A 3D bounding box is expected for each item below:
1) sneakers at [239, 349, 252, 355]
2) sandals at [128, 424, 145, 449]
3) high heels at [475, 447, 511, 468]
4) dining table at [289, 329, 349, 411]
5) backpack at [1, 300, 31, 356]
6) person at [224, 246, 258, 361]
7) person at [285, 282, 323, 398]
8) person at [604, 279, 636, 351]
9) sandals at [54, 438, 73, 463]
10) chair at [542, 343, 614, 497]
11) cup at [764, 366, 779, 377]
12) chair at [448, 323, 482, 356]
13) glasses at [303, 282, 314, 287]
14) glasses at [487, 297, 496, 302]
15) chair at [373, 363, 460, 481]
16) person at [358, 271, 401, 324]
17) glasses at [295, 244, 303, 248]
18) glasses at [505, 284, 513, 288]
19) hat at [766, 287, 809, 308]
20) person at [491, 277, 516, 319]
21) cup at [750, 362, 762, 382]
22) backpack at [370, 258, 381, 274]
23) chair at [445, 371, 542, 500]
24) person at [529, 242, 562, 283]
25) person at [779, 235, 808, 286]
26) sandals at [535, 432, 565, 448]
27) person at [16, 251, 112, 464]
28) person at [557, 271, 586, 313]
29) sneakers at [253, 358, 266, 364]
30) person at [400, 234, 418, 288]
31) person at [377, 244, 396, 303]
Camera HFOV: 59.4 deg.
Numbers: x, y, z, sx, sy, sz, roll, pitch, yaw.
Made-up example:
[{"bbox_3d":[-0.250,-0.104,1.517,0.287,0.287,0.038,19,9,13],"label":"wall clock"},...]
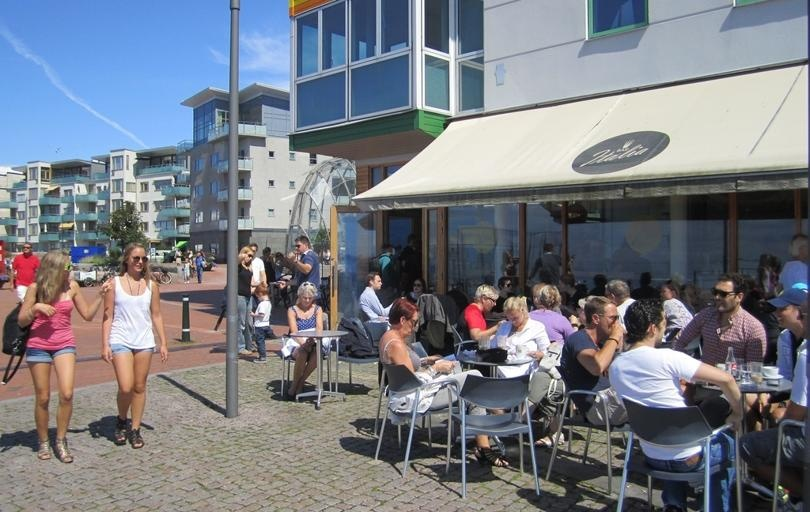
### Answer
[{"bbox_3d":[-3.320,2.007,14.777,0.221,0.091,0.109,0,-1,24],"label":"sneakers"},{"bbox_3d":[-3.763,2.540,9.929,0.141,0.165,0.385,3,0,-37],"label":"sandals"},{"bbox_3d":[1.137,2.667,9.477,0.516,0.206,0.191,0,4,27],"label":"high heels"},{"bbox_3d":[-1.363,1.817,11.623,0.960,1.071,0.969,-3,-10,31],"label":"dining table"},{"bbox_3d":[-5.202,1.023,9.460,0.292,0.731,0.454,-8,13,-39],"label":"backpack"},{"bbox_3d":[-3.358,0.960,14.834,0.317,2.123,0.710,-2,10,-13],"label":"person"},{"bbox_3d":[-1.709,1.398,11.850,0.684,1.866,0.959,3,2,-14],"label":"person"},{"bbox_3d":[3.426,0.993,11.074,0.473,1.416,0.462,-9,34,8],"label":"person"},{"bbox_3d":[-4.560,2.605,9.441,0.151,0.198,0.451,1,1,-42],"label":"sandals"},{"bbox_3d":[2.310,1.918,9.357,1.009,1.839,1.414,1,10,8],"label":"chair"},{"bbox_3d":[4.563,1.448,8.839,0.110,0.076,0.164,-1,-10,4],"label":"cup"},{"bbox_3d":[0.954,1.357,11.395,0.444,0.622,0.447,-1,-1,9],"label":"chair"},{"bbox_3d":[-1.632,0.504,12.128,0.124,0.064,0.147,13,2,19],"label":"glasses"},{"bbox_3d":[1.350,0.687,11.144,0.107,0.111,0.032,5,-2,-3],"label":"glasses"},{"bbox_3d":[0.167,2.160,9.730,1.086,1.377,1.109,1,0,-5],"label":"chair"},{"bbox_3d":[-0.536,0.806,13.538,0.677,0.941,0.577,4,3,-14],"label":"person"},{"bbox_3d":[-2.176,-0.183,14.656,0.117,0.094,0.074,0,10,3],"label":"glasses"},{"bbox_3d":[1.897,0.553,13.028,0.078,0.087,0.122,2,-5,-2],"label":"glasses"},{"bbox_3d":[5.004,0.550,9.243,0.628,0.332,0.411,1,0,13],"label":"hat"},{"bbox_3d":[1.846,0.859,13.236,0.359,0.919,0.359,-9,5,-11],"label":"person"},{"bbox_3d":[4.381,1.456,8.839,0.185,0.301,0.183,0,-1,0],"label":"cup"},{"bbox_3d":[-0.705,0.248,16.548,0.185,0.332,0.344,-4,4,-36],"label":"backpack"},{"bbox_3d":[1.140,2.290,9.344,1.325,1.589,1.374,-2,-2,42],"label":"chair"},{"bbox_3d":[2.823,0.149,14.193,0.233,0.830,0.707,-7,12,-34],"label":"person"},{"bbox_3d":[6.090,0.134,11.121,0.333,0.833,1.475,5,11,28],"label":"person"},{"bbox_3d":[1.985,2.509,9.752,0.530,0.215,0.212,-2,-5,30],"label":"sandals"},{"bbox_3d":[-4.633,1.337,9.460,0.776,2.745,0.595,-8,13,-39],"label":"person"},{"bbox_3d":[3.128,0.643,13.348,0.423,0.623,1.164,3,15,2],"label":"person"},{"bbox_3d":[-2.889,2.074,14.047,0.104,0.113,0.240,0,2,-42],"label":"sneakers"},{"bbox_3d":[0.103,0.203,16.689,0.444,1.292,0.355,0,10,-1],"label":"person"},{"bbox_3d":[-0.396,0.406,16.662,0.467,1.504,0.453,18,37,27],"label":"person"}]
